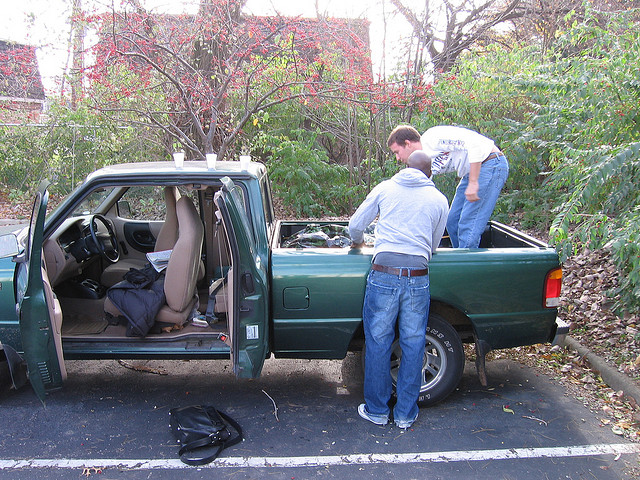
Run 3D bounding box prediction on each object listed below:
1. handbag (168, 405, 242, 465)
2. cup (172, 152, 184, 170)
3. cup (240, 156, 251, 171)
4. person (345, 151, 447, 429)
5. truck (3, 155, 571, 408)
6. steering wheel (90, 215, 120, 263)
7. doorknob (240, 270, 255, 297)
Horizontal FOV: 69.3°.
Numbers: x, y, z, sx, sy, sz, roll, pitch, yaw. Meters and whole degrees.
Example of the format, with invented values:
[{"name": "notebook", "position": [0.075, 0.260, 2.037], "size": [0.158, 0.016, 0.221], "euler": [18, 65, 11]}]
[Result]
[{"name": "handbag", "position": [-1.041, 1.765, 4.258], "size": [0.567, 0.241, 0.602], "euler": [-5, 13, -29]}, {"name": "cup", "position": [-1.374, -0.767, 4.520], "size": [0.079, 0.150, 0.234], "euler": [-3, 12, -17]}, {"name": "cup", "position": [-0.728, -0.756, 4.574], "size": [0.115, 0.128, 0.123], "euler": [-1, 7, 0]}, {"name": "person", "position": [0.718, 0.487, 4.370], "size": [0.848, 2.585, 0.543], "euler": [2, 12, 5]}, {"name": "truck", "position": [-0.378, 0.400, 5.078], "size": [5.410, 1.982, 3.101], "euler": [2, 8, 1]}, {"name": "steering wheel", "position": [-2.521, 0.005, 5.387], "size": [0.075, 0.572, 0.566], "euler": [-19, 3, 0]}, {"name": "doorknob", "position": [-0.651, 0.400, 4.152], "size": [0.129, 0.244, 0.031], "euler": [-2, 12, -15]}]
